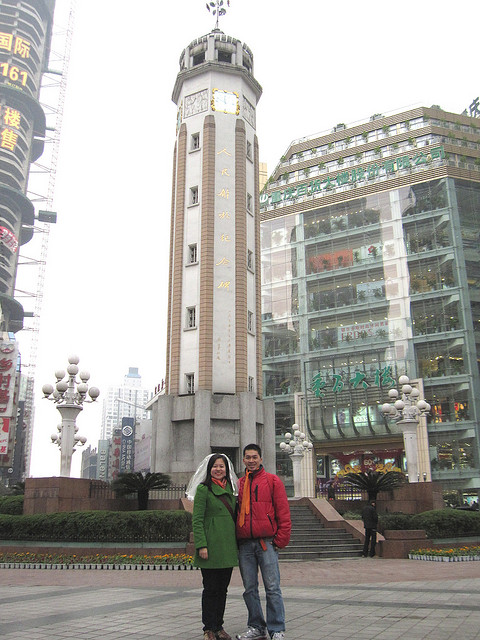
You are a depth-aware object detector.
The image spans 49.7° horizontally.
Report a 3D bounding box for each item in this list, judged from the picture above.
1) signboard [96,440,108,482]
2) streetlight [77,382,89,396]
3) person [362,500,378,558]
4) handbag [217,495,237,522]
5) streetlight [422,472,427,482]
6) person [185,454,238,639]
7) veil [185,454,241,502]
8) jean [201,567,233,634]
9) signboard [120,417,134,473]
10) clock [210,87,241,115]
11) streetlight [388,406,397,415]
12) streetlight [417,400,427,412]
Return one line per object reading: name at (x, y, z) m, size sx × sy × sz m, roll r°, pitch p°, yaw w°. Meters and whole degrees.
signboard at (-30.589, 31.360, 116.792) m, size 2.616 × 9.274 × 2.060 m, roll -8°, pitch -24°, yaw 9°
streetlight at (-6.799, 2.972, 22.386) m, size 0.510 × 0.574 × 0.489 m, roll 3°, pitch -8°, yaw -4°
person at (4.137, 6.800, 16.650) m, size 0.544 × 1.635 × 1.156 m, roll -5°, pitch -16°, yaw 10°
handbag at (-0.132, 1.762, 4.822) m, size 0.044 × 0.304 × 0.045 m, roll -29°, pitch -17°, yaw -48°
streetlight at (14.706, 12.420, 41.195) m, size 0.342 × 0.492 × 2.230 m, roll -8°, pitch -16°, yaw 17°
person at (-0.213, 2.017, 4.755) m, size 0.409 × 1.510 × 0.570 m, roll -2°, pitch -16°, yaw -1°
veil at (-0.278, 1.582, 5.372) m, size 0.744 × 0.659 × 0.384 m, roll 0°, pitch -12°, yaw -1°
jean at (-0.198, 2.430, 4.559) m, size 0.293 × 0.517 × 0.248 m, roll 2°, pitch -16°, yaw -15°
signboard at (-16.469, 18.045, 75.720) m, size 1.790 × 7.597 × 2.664 m, roll 1°, pitch -16°, yaw -13°
clock at (-0.984, -13.370, 31.914) m, size 2.137 × 1.751 × 0.134 m, roll 2°, pitch -13°, yaw -20°
streetlight at (7.141, 4.263, 24.164) m, size 0.388 × 0.415 × 0.372 m, roll 2°, pitch 0°, yaw -4°
streetlight at (8.241, 3.937, 23.597) m, size 0.536 × 0.598 × 0.520 m, roll 9°, pitch -15°, yaw -39°
